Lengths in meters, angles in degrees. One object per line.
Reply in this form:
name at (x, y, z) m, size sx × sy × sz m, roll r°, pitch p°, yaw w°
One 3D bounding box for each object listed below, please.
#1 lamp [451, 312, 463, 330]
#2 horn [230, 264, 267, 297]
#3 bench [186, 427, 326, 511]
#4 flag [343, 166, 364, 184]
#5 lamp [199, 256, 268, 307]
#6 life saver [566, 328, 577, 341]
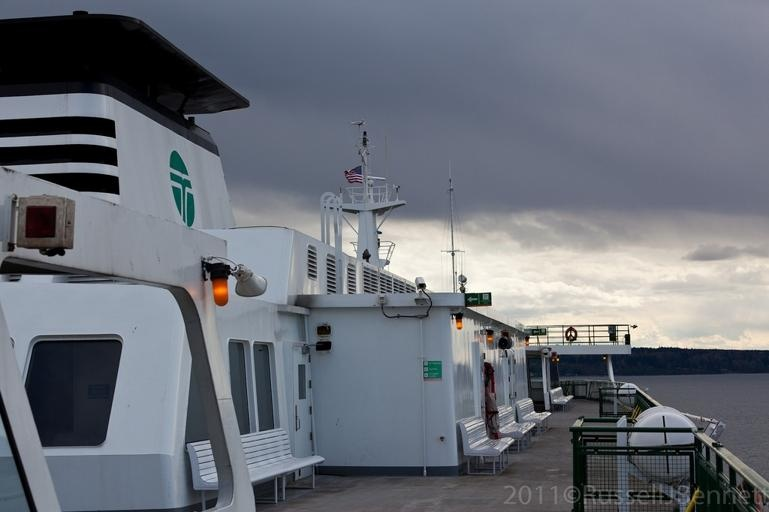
lamp at (1.488, 1.313, 16.297) m, size 0.178 × 0.344 × 0.448 m, roll -3°, pitch -7°, yaw 12°
horn at (-1.361, 0.198, 7.672) m, size 0.342 × 0.280 × 0.354 m, roll 5°, pitch -24°, yaw 13°
bench at (-1.976, 3.368, 12.340) m, size 0.699 × 1.242 × 3.272 m, roll -4°, pitch -7°, yaw 16°
flag at (-0.904, -2.424, 23.257) m, size 0.464 × 0.643 × 1.383 m, roll -2°, pitch -7°, yaw -5°
lamp at (-1.454, 0.218, 7.573) m, size 0.425 × 0.463 × 0.591 m, roll -3°, pitch -7°, yaw 9°
life saver at (9.356, 3.883, 39.838) m, size 0.536 × 0.747 × 1.791 m, roll -4°, pitch -7°, yaw 13°
